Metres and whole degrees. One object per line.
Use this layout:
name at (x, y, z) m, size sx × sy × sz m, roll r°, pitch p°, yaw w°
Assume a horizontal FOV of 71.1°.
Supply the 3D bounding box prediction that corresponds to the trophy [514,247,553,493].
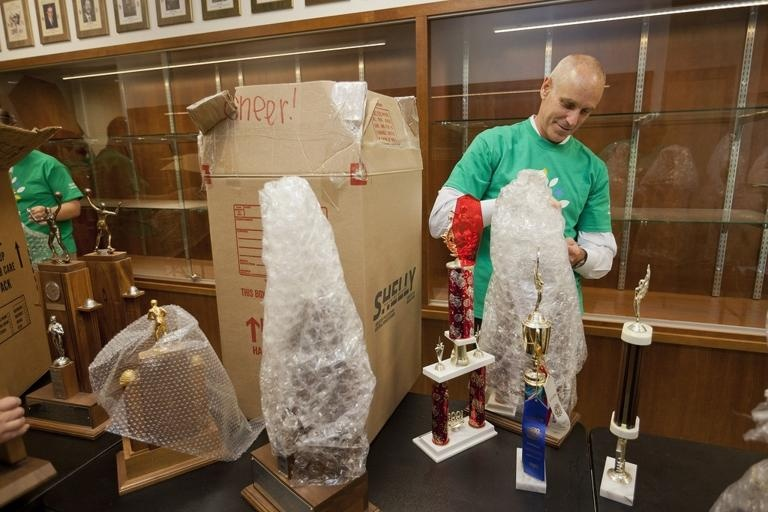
trophy at (0.449, 0.418, 1.609) m, size 0.091 × 0.567 × 0.153 m, roll 2°, pitch 15°, yaw 15°

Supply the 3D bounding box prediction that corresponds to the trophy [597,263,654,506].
trophy at (0.704, 0.403, 1.607) m, size 0.147 × 0.735 × 0.166 m, roll 5°, pitch 15°, yaw 10°

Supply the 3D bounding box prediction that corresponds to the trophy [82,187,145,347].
trophy at (-1.016, 0.085, 1.937) m, size 0.247 × 0.550 × 0.074 m, roll 4°, pitch 20°, yaw -27°

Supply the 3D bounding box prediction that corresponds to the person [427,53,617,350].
person at (0.662, -0.219, 2.433) m, size 0.718 × 1.237 × 0.675 m, roll 7°, pitch 16°, yaw 17°
